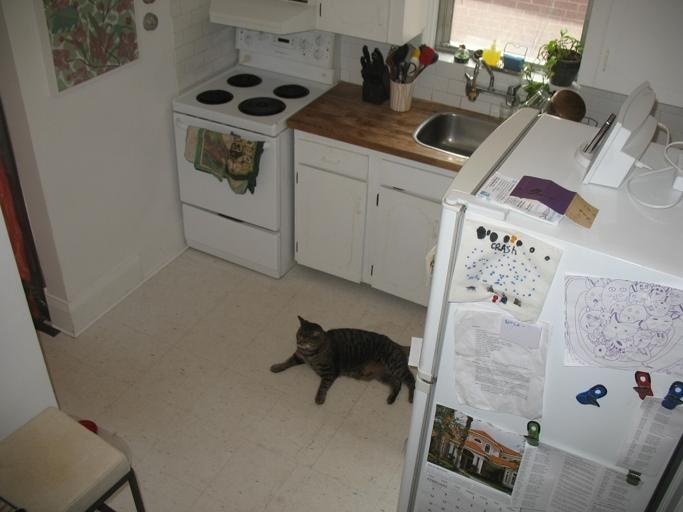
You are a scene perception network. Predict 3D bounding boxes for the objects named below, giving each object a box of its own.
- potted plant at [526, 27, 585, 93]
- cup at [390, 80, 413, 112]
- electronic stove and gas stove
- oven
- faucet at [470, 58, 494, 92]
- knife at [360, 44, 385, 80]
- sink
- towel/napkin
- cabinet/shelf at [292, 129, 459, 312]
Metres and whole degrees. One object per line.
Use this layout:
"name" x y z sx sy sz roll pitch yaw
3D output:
"potted plant" 1.366 -1.246 3.191 0.287 0.351 0.336 20 44 29
"cup" 0.380 -1.093 3.433 0.160 0.203 0.187 -5 38 -5
"electronic stove and gas stove" -0.625 -1.149 3.612 0.913 0.142 0.744 16 42 17
"oven" -0.700 -0.627 3.880 0.947 1.207 0.957 6 33 -1
"faucet" 0.941 -1.203 3.314 0.179 0.267 0.072 -4 49 7
"knife" 0.220 -1.339 3.434 0.145 0.267 0.069 4 39 6
"sink" 0.713 -0.771 3.132 0.463 0.189 0.368 18 54 19
"towel/napkin" -0.799 -0.684 3.436 0.411 0.325 0.033 21 38 14
"cabinet/shelf" 0.222 -0.277 3.177 0.870 0.882 0.484 18 41 18
